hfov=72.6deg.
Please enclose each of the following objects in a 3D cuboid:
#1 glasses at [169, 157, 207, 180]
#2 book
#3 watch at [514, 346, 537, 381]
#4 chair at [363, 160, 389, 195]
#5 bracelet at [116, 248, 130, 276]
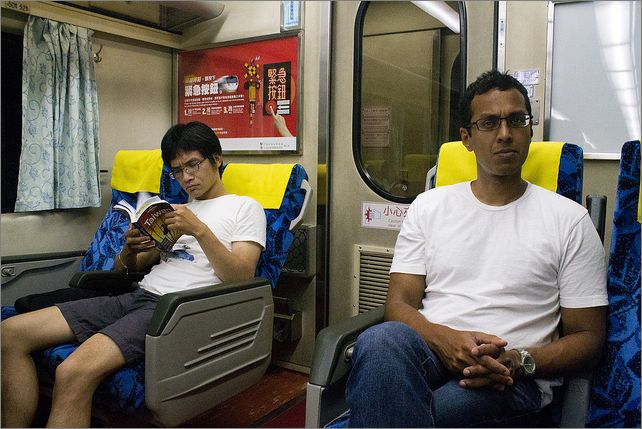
[{"bbox_3d":[-0.807,-0.264,2.591,0.139,0.042,0.143,-17,15,32],"label":"glasses"},{"bbox_3d":[-1.042,0.069,2.623,0.419,0.152,0.319,41,6,8],"label":"book"},{"bbox_3d":[0.806,0.591,1.717,0.061,0.105,0.045,-5,8,-18],"label":"watch"},{"bbox_3d":[0.402,-0.299,3.229,0.131,0.232,0.223,0,8,33],"label":"chair"},{"bbox_3d":[-1.207,0.293,2.695,0.096,0.117,0.029,35,37,29],"label":"bracelet"}]
